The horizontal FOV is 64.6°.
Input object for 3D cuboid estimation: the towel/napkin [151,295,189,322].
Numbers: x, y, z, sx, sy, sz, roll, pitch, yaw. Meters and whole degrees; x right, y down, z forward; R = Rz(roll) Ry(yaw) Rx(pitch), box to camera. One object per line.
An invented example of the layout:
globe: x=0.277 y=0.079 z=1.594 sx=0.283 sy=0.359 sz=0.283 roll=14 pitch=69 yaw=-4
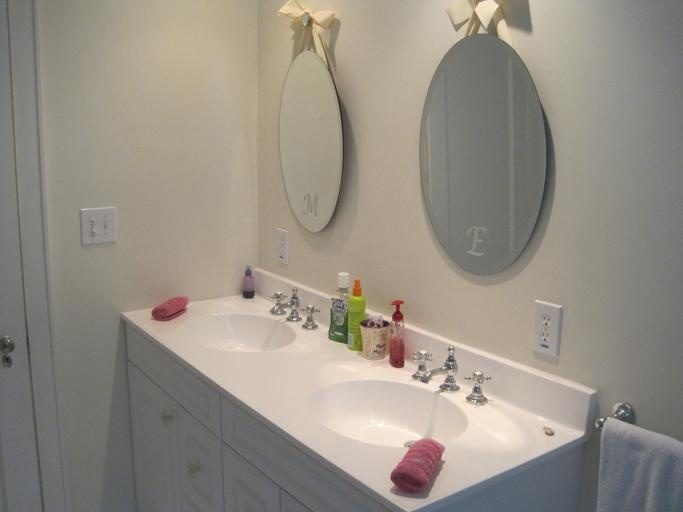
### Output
towel/napkin: x=-0.716 y=0.217 z=2.287 sx=0.079 sy=0.045 sz=0.117 roll=5 pitch=14 yaw=29

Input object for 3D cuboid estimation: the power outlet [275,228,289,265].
power outlet: x=-0.270 y=-0.048 z=2.454 sx=0.081 sy=0.158 sz=0.009 roll=11 pitch=13 yaw=42

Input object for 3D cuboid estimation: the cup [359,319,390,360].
cup: x=0.120 y=0.295 z=1.951 sx=0.116 sy=0.132 sz=0.110 roll=0 pitch=6 yaw=0

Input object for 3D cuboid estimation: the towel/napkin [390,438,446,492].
towel/napkin: x=0.183 y=0.466 z=1.286 sx=0.069 sy=0.063 sz=0.141 roll=7 pitch=11 yaw=18

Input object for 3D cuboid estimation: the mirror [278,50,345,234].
mirror: x=-0.130 y=-0.469 z=2.236 sx=0.057 sy=0.719 sz=0.391 roll=-4 pitch=9 yaw=-38

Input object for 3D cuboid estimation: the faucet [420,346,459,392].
faucet: x=0.328 y=0.364 z=1.755 sx=0.150 sy=0.169 sz=0.077 roll=-3 pitch=6 yaw=-30

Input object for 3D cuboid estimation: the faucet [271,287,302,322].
faucet: x=-0.244 y=0.208 z=2.330 sx=0.078 sy=0.144 sz=0.181 roll=-2 pitch=10 yaw=-28

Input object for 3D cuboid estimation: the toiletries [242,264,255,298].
toiletries: x=-0.437 y=0.123 z=2.556 sx=0.057 sy=0.150 sz=0.071 roll=1 pitch=7 yaw=-12
